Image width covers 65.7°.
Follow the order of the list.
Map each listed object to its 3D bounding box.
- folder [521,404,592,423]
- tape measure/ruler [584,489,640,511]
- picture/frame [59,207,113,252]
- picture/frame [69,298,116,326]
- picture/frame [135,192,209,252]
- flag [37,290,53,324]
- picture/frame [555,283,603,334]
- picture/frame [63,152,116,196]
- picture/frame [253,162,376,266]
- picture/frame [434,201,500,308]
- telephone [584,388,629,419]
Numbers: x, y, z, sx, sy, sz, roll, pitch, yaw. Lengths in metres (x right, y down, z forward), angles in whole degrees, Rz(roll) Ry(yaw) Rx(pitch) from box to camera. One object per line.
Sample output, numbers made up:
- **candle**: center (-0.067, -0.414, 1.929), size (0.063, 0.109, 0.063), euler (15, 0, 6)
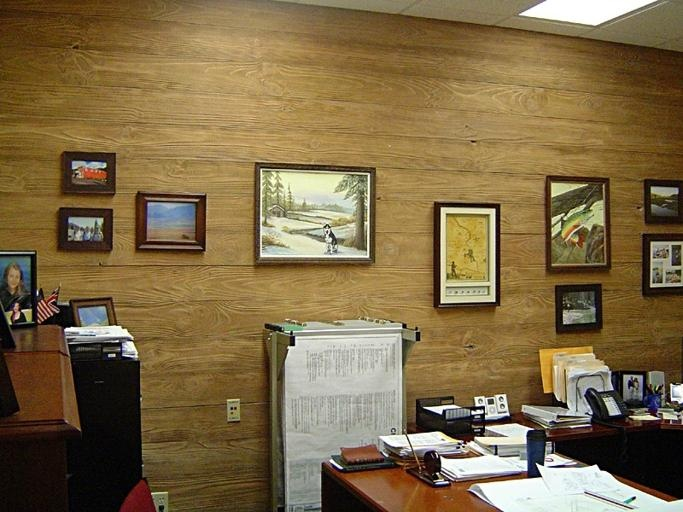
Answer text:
- **folder**: center (1.430, 1.027, 3.465), size (0.389, 0.083, 0.257), euler (-1, 1, -11)
- **tape measure/ruler**: center (1.132, 0.994, 2.183), size (0.158, 0.006, 0.189), euler (-1, 2, -35)
- **picture/frame**: center (-1.476, -0.154, 3.034), size (0.398, 0.228, 0.029), euler (0, -2, -12)
- **picture/frame**: center (-1.380, 0.312, 2.931), size (0.209, 0.143, 0.020), euler (-5, -13, -32)
- **picture/frame**: center (-1.026, -0.209, 3.149), size (0.552, 0.310, 0.049), euler (0, -2, -15)
- **flag**: center (-1.535, 0.266, 2.773), size (0.088, 0.186, 0.205), euler (-1, 2, -27)
- **picture/frame**: center (1.713, 0.383, 3.872), size (0.566, 0.373, 0.024), euler (1, -4, -19)
- **picture/frame**: center (-1.462, -0.476, 3.044), size (0.395, 0.237, 0.026), euler (0, -2, -13)
- **picture/frame**: center (-0.208, -0.269, 3.365), size (1.052, 0.540, 0.075), euler (0, 0, -10)
- **picture/frame**: center (0.859, -0.014, 3.625), size (0.485, 0.713, 0.094), euler (-1, 2, -22)
- **telephone**: center (1.753, 0.974, 3.501), size (0.227, 0.192, 0.144), euler (-1, 2, -23)
